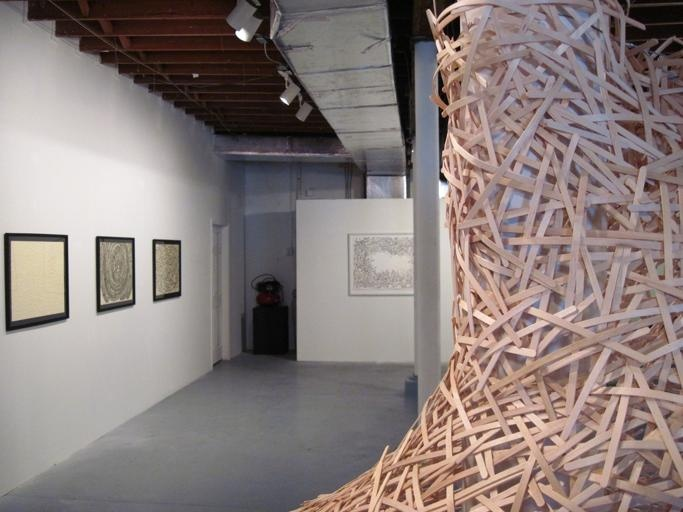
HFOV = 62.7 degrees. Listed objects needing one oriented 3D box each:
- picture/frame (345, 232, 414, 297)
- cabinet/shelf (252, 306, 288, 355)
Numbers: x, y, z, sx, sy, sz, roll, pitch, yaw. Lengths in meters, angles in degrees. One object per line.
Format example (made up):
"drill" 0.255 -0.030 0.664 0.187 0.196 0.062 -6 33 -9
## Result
"picture/frame" 0.532 0.149 7.535 0.901 0.760 0.044 -1 -16 1
"cabinet/shelf" -1.105 1.218 8.624 0.595 0.831 0.601 0 2 -7
